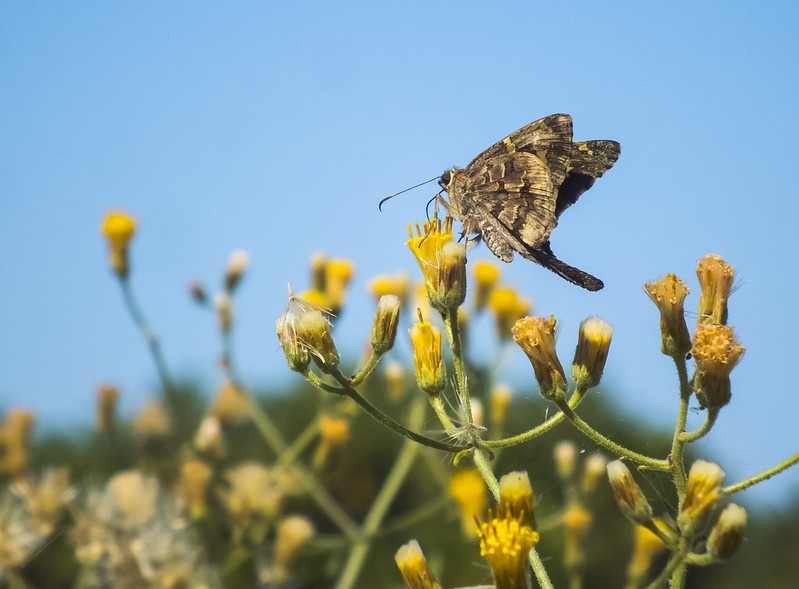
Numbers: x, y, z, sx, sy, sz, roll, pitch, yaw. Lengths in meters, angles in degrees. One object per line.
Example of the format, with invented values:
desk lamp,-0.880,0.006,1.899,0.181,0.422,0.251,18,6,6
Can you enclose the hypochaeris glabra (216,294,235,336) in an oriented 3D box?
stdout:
hypochaeris glabra,-0.446,0.054,3.065,0.048,0.105,0.022,0,-8,-35

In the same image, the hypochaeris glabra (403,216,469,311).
hypochaeris glabra,0.100,-0.074,2.975,0.147,0.286,0.192,-10,-4,-20

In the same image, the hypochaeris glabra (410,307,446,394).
hypochaeris glabra,0.077,0.138,2.964,0.103,0.207,0.092,-4,-1,-26

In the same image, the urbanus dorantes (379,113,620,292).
urbanus dorantes,0.334,-0.225,3.105,0.471,0.460,0.147,-6,-1,7

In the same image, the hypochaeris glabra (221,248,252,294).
hypochaeris glabra,-0.399,-0.040,2.893,0.043,0.105,0.037,18,-34,-5

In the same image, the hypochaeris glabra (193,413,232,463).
hypochaeris glabra,-0.501,0.384,3.217,0.071,0.113,0.034,-17,-5,-38

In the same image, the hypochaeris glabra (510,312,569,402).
hypochaeris glabra,0.325,0.139,2.791,0.081,0.292,0.092,-4,0,-17

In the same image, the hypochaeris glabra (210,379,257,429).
hypochaeris glabra,-0.458,0.291,3.303,0.023,0.112,0.098,-20,-50,37

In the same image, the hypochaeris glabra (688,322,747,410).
hypochaeris glabra,0.732,0.163,2.781,0.114,0.203,0.070,-5,-1,17

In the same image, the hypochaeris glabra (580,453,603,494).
hypochaeris glabra,0.539,0.493,3.365,0.071,0.108,0.083,-5,-1,9

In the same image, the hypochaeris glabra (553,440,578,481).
hypochaeris glabra,0.462,0.468,3.394,0.075,0.150,0.087,1,-6,-3

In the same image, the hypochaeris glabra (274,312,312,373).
hypochaeris glabra,-0.251,0.087,2.923,0.078,0.075,0.185,11,-28,-1

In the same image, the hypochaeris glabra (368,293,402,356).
hypochaeris glabra,-0.039,0.076,3.021,0.074,0.149,0.165,-4,-1,-2
